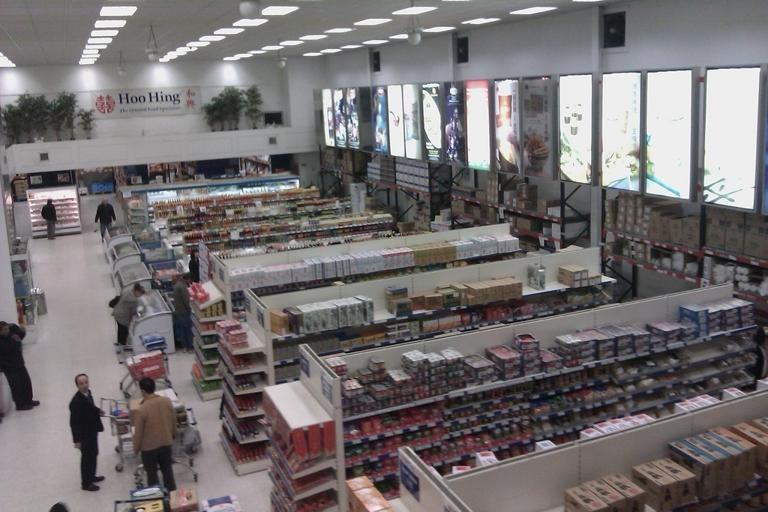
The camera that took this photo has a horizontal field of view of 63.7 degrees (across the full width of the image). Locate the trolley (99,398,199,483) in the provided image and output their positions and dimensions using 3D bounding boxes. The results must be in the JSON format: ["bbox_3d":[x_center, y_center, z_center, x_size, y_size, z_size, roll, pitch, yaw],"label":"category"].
[{"bbox_3d":[-3.702,2.588,9.377,1.609,1.047,1.118,-5,23,-14],"label":"trolley"}]

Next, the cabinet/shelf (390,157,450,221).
[{"bbox_3d":[1.057,-1.981,17.577,0.594,1.623,1.761,-7,16,-25],"label":"cabinet/shelf"}]

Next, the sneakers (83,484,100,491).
[{"bbox_3d":[-4.198,3.287,8.788,0.217,0.123,0.069,-1,17,0],"label":"sneakers"}]

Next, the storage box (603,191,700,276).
[{"bbox_3d":[4.840,-0.463,11.080,0.473,1.158,1.452,-9,17,-31],"label":"storage box"}]

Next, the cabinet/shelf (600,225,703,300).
[{"bbox_3d":[4.872,0.072,11.157,0.436,1.173,1.334,-9,14,-24],"label":"cabinet/shelf"}]

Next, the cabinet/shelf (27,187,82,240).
[{"bbox_3d":[-11.468,-1.486,21.408,1.996,1.761,0.797,-4,11,-20],"label":"cabinet/shelf"}]

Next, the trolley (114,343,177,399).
[{"bbox_3d":[-3.863,1.976,10.118,0.921,0.692,0.769,-6,-8,-45],"label":"trolley"}]

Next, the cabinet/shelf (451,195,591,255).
[{"bbox_3d":[3.084,-0.894,14.393,0.901,1.152,3.478,-15,15,-30],"label":"cabinet/shelf"}]

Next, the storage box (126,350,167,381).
[{"bbox_3d":[-3.843,1.728,10.000,0.618,0.418,0.445,-7,19,-20],"label":"storage box"}]

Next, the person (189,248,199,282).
[{"bbox_3d":[-3.986,0.189,12.893,0.202,0.675,0.492,-11,14,-15],"label":"person"}]

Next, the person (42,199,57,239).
[{"bbox_3d":[-11.340,-1.267,20.873,0.418,1.381,1.084,-14,15,-27],"label":"person"}]
